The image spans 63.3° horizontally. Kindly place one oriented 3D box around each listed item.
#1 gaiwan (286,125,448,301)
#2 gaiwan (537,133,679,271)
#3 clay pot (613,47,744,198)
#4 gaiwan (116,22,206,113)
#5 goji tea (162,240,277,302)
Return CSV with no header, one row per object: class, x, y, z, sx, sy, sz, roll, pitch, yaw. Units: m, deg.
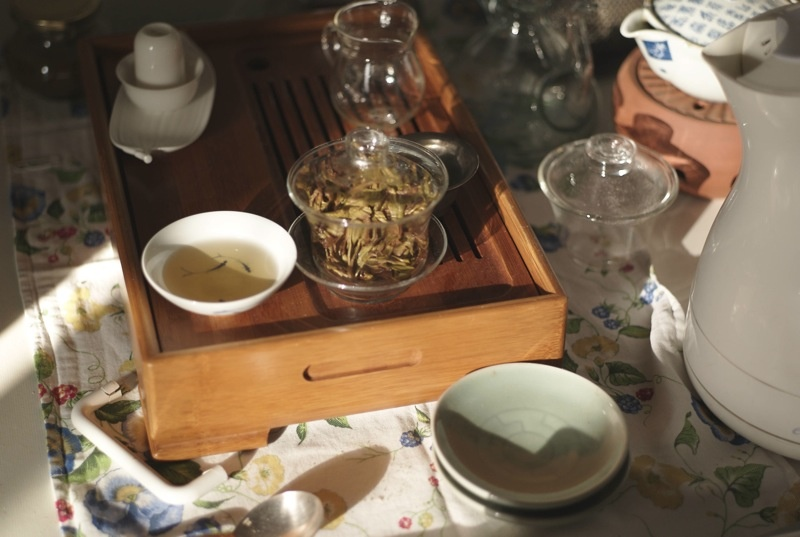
gaiwan,-0.035,-0.066,0.788,0.194,0.164,0.192,0,53,-1
gaiwan,0.281,-0.110,0.972,0.200,0.188,0.198,5,46,8
clay pot,0.392,-0.199,0.947,0.169,0.090,0.175,-1,46,1
gaiwan,-0.335,-0.269,0.947,0.128,0.101,0.132,-6,51,-8
goji tea,-0.200,0.002,0.723,0.124,0.013,0.077,-6,53,-5
